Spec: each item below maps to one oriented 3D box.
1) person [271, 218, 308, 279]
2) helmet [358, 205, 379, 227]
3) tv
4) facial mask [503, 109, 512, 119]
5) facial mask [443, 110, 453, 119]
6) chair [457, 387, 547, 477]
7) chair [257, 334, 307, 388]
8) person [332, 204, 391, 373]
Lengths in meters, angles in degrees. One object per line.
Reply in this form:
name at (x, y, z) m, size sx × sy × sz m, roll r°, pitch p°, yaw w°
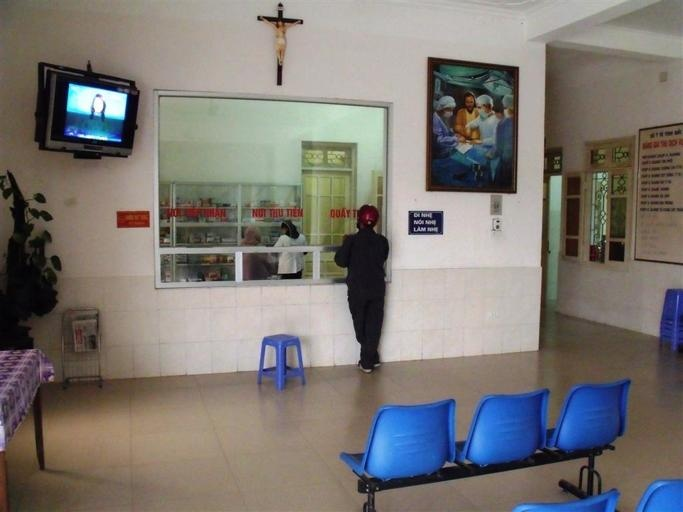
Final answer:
person at (-0.642, -0.136, 6.644) m, size 0.454 × 1.051 × 0.430 m, roll -6°, pitch 29°, yaw -16°
helmet at (0.364, -0.502, 6.682) m, size 0.205 × 0.272 × 0.253 m, roll -7°, pitch 17°, yaw -43°
tv at (-2.589, -1.474, 5.622) m, size 0.876 × 0.909 × 0.238 m, roll 0°, pitch 9°, yaw -32°
facial mask at (2.186, -1.904, 7.282) m, size 0.084 × 0.119 × 0.116 m, roll 1°, pitch 32°, yaw -8°
facial mask at (1.368, -1.838, 7.075) m, size 0.119 × 0.127 × 0.088 m, roll 0°, pitch 0°, yaw 29°
chair at (1.075, 1.111, 3.824) m, size 0.552 × 0.487 × 0.494 m, roll -2°, pitch 2°, yaw -17°
chair at (-0.730, 1.156, 6.263) m, size 0.535 × 0.633 × 0.533 m, roll 0°, pitch 0°, yaw -39°
person at (0.250, 0.376, 6.675) m, size 0.593 × 1.994 × 0.325 m, roll 1°, pitch 8°, yaw 5°
